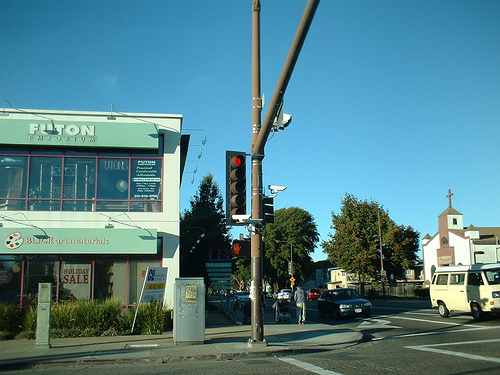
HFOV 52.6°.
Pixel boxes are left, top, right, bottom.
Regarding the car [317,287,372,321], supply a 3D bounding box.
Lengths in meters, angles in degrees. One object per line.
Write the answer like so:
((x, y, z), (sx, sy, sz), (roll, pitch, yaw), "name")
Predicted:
((5.525, 6.869, 29.820), (1.855, 1.819, 3.352), (3, -14, -20), "car")

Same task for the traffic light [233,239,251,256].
((-0.263, 2.191, 18.158), (0.631, 0.583, 0.455), (0, -13, -4), "traffic light")

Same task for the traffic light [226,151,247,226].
((-0.477, 0.017, 16.972), (0.701, 2.504, 0.413), (-3, -12, 7), "traffic light")

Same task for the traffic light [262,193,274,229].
((0.647, 0.804, 17.975), (0.368, 1.020, 0.340), (-4, -12, 13), "traffic light")
